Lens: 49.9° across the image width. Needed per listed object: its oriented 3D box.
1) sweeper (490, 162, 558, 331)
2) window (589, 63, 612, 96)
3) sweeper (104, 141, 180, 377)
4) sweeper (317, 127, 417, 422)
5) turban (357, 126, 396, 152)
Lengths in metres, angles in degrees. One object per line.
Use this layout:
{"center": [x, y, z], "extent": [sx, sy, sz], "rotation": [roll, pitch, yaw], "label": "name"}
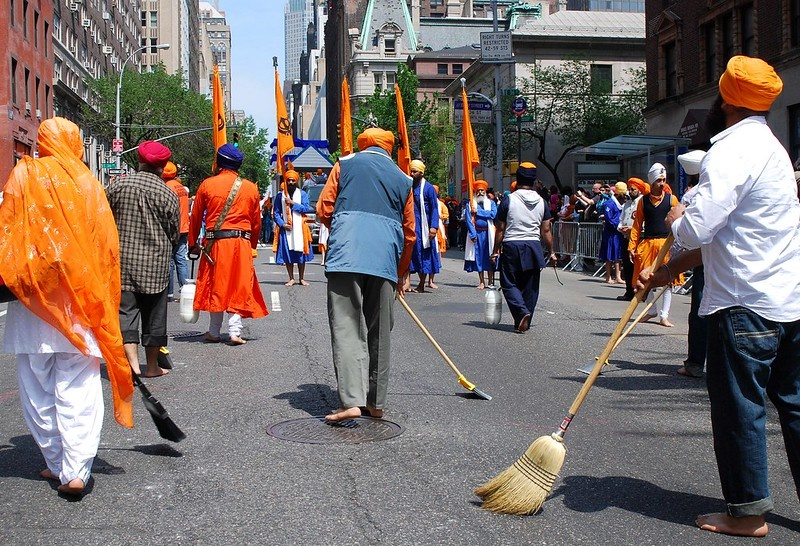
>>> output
{"center": [1.707, -0.383, 12.129], "extent": [1.298, 2.655, 0.656], "rotation": [-1, 3, -12], "label": "sweeper"}
{"center": [11.403, -11.069, 48.596], "extent": [1.252, 1.771, 5.132], "rotation": [3, 12, 13], "label": "window"}
{"center": [-2.546, -0.157, 8.487], "extent": [0.857, 2.450, 1.013], "rotation": [1, -2, -32], "label": "sweeper"}
{"center": [-0.398, 0.013, 7.391], "extent": [0.943, 2.286, 1.495], "rotation": [0, -1, -9], "label": "sweeper"}
{"center": [-0.210, -1.148, 7.321], "extent": [0.260, 0.198, 0.203], "rotation": [5, 7, 15], "label": "turban"}
